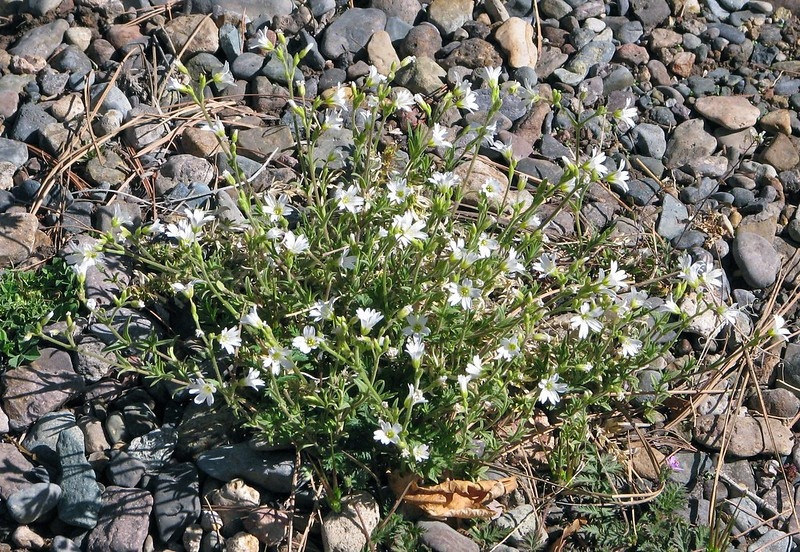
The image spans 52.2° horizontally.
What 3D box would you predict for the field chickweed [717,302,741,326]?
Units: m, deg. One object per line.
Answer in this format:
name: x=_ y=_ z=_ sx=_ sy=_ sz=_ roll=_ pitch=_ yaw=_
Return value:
field chickweed: x=1.983 y=0.234 z=4.918 sx=0.055 sy=0.107 sz=0.122 roll=23 pitch=82 yaw=33
